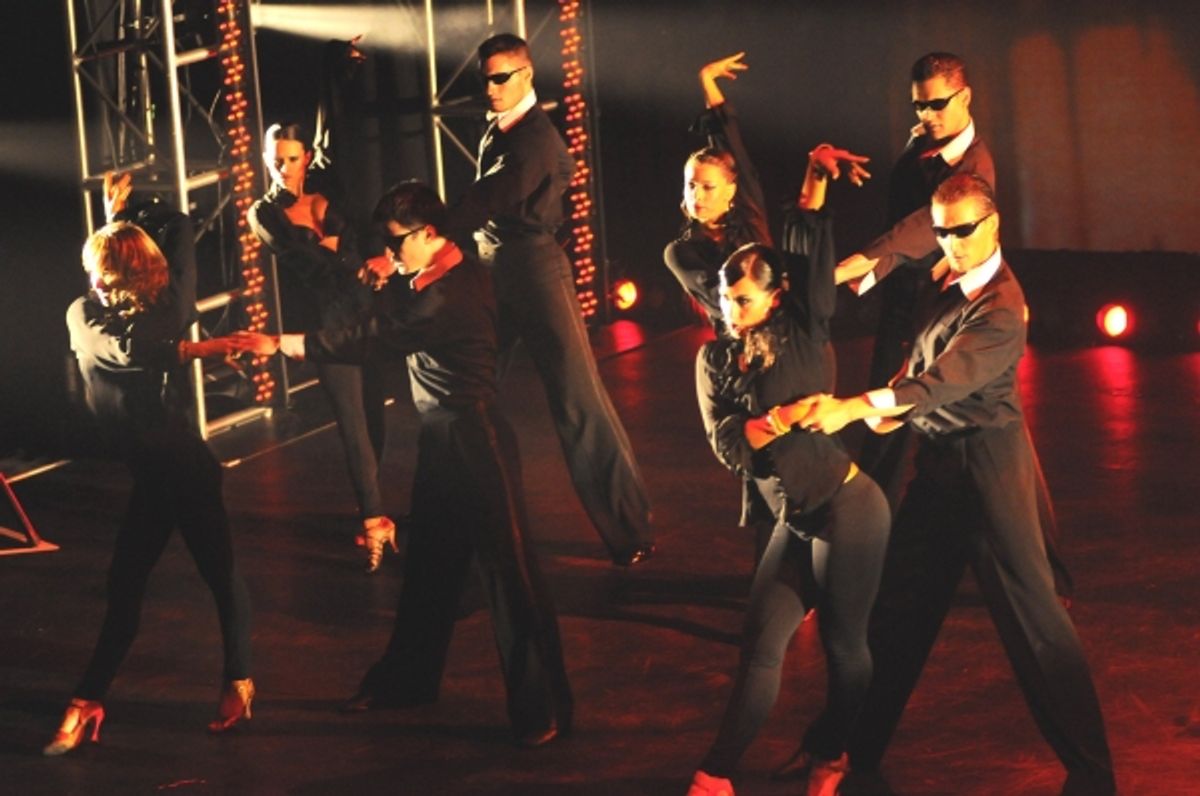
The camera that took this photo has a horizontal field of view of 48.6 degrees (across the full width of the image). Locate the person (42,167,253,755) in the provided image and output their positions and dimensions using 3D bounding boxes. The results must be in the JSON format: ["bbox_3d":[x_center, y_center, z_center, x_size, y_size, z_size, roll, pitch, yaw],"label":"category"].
[{"bbox_3d":[-1.899,0.320,5.522,0.795,2.102,0.955,-2,15,-15],"label":"person"}]

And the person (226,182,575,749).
[{"bbox_3d":[-0.593,0.258,5.286,1.089,2.154,0.470,11,18,31],"label":"person"}]

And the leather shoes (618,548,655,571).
[{"bbox_3d":[0.169,0.800,6.572,0.143,0.043,0.100,-3,-6,-41],"label":"leather shoes"}]

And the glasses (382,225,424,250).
[{"bbox_3d":[-0.788,-0.624,5.225,0.116,0.039,0.107,-21,12,-22],"label":"glasses"}]

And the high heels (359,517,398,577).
[{"bbox_3d":[-1.108,0.738,6.700,0.138,0.251,0.217,-3,-8,-34],"label":"high heels"}]

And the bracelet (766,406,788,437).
[{"bbox_3d":[0.627,0.079,4.724,0.086,0.099,0.038,7,16,18],"label":"bracelet"}]

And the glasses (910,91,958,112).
[{"bbox_3d":[1.458,-1.321,5.899,0.136,0.086,0.221,-6,15,-31],"label":"glasses"}]

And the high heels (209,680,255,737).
[{"bbox_3d":[-1.526,1.287,5.458,0.121,0.179,0.162,40,11,-23],"label":"high heels"}]
